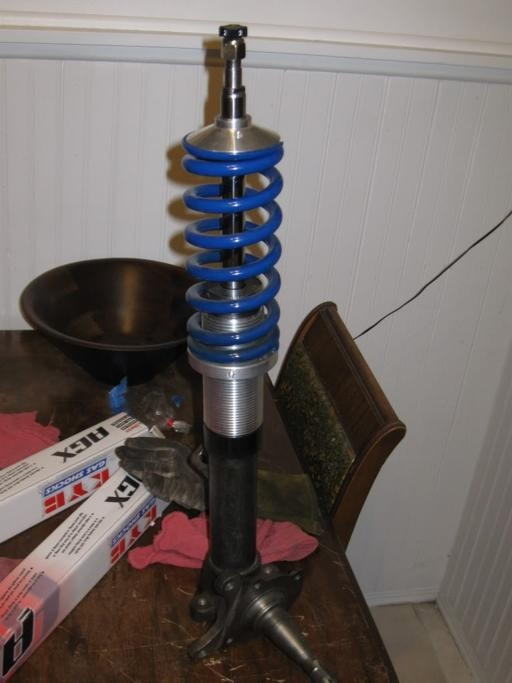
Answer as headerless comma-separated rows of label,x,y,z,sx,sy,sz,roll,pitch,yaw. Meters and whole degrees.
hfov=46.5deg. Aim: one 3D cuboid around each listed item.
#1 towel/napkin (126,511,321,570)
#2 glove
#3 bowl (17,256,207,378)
towel/napkin,-0.040,0.237,0.707,0.146,0.029,0.084,0,4,-18
glove,-0.041,0.177,0.752,0.205,0.060,0.129,1,33,-25
bowl,-0.242,-0.035,1.006,0.263,0.096,0.260,7,33,-5
